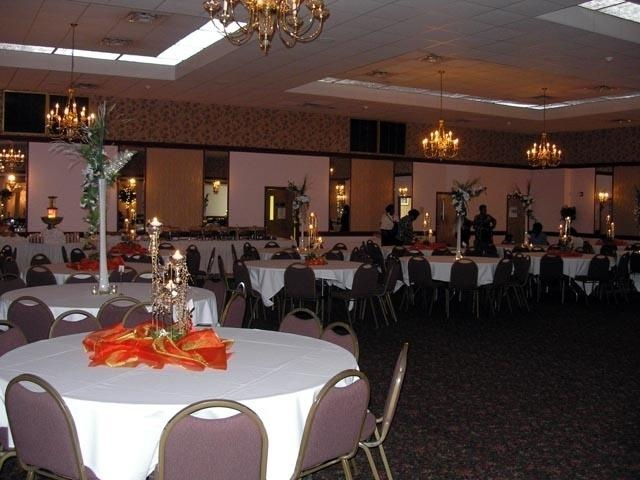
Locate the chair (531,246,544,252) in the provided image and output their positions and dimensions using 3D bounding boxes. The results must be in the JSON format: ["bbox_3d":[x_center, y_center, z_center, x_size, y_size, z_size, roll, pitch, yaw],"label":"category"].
[{"bbox_3d":[4.900,0.179,11.970,0.252,0.217,0.270,0,1,-27],"label":"chair"}]

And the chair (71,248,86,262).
[{"bbox_3d":[-3.970,0.243,8.741,0.201,0.346,0.220,2,-3,-16],"label":"chair"}]

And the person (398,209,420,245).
[{"bbox_3d":[2.106,-0.298,12.835,0.438,0.924,1.435,1,7,8],"label":"person"}]

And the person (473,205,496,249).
[{"bbox_3d":[4.202,-0.206,13.492,0.472,1.494,0.425,-2,34,22],"label":"person"}]

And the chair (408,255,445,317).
[{"bbox_3d":[1.839,0.781,9.219,0.579,1.252,0.684,7,19,37],"label":"chair"}]

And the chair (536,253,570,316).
[{"bbox_3d":[4.394,0.810,10.030,0.590,1.305,0.725,2,22,19],"label":"chair"}]

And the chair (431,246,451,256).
[{"bbox_3d":[2.436,0.239,10.769,0.236,0.314,0.211,4,-4,-23],"label":"chair"}]

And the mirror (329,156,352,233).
[{"bbox_3d":[0.593,-1.354,15.804,0.647,2.158,0.293,0,6,-2],"label":"mirror"}]

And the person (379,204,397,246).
[{"bbox_3d":[1.868,-0.381,14.395,0.423,1.090,1.690,1,7,8],"label":"person"}]

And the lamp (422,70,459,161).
[{"bbox_3d":[3.143,-2.955,13.815,1.056,1.726,5.757,2,7,12],"label":"lamp"}]

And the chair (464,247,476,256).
[{"bbox_3d":[3.063,0.235,10.879,0.193,0.159,0.211,2,0,3],"label":"chair"}]

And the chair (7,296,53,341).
[{"bbox_3d":[-2.481,0.673,4.552,0.247,0.528,0.305,3,8,2],"label":"chair"}]

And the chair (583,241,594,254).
[{"bbox_3d":[6.313,0.160,12.534,0.179,0.402,0.252,-2,4,41],"label":"chair"}]

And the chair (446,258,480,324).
[{"bbox_3d":[2.605,0.696,9.694,0.534,1.017,2.504,2,7,15],"label":"chair"}]
